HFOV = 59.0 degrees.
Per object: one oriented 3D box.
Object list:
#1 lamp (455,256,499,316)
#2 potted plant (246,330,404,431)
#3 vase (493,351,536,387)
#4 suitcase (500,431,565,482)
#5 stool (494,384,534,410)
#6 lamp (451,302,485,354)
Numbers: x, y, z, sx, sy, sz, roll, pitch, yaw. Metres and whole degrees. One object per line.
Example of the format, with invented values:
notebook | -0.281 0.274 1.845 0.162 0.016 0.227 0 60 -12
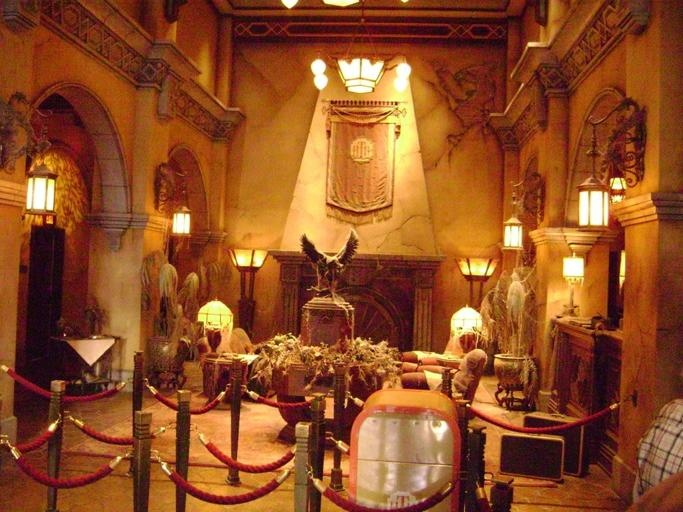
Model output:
lamp | 2.437 0.551 11.098 0.929 1.199 0.858 1 -6 2
potted plant | -0.158 1.355 7.254 1.314 0.760 1.355 2 -2 -19
vase | 2.533 1.702 8.872 0.561 0.500 0.491 0 -5 29
suitcase | 1.991 2.119 6.330 0.710 0.587 0.242 1 3 11
stool | 2.534 2.159 9.065 0.441 0.345 0.401 1 -5 -12
lamp | 2.120 1.243 10.187 0.496 0.809 1.635 2 -5 13
